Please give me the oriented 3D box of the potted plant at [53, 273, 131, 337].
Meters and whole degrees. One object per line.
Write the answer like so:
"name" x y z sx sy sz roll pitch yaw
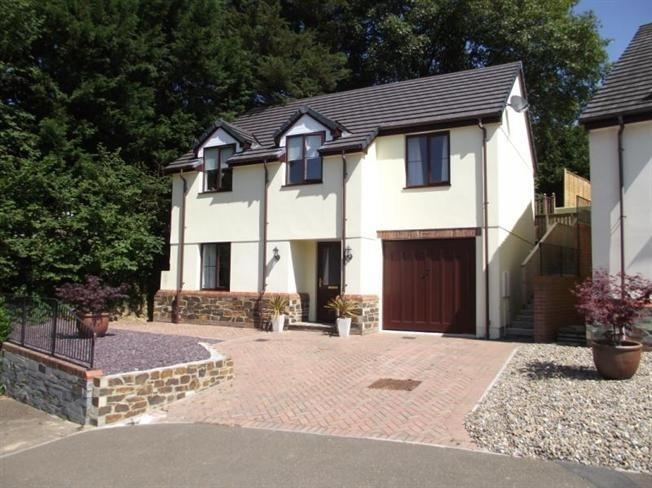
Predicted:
"potted plant" -7.531 1.885 16.969 1.313 1.745 1.774 -8 -10 42

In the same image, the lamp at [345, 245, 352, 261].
"lamp" 0.810 0.355 18.911 0.328 0.552 0.161 1 7 18

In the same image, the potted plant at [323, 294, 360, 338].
"potted plant" 0.609 2.477 18.495 0.738 1.275 0.868 -7 9 -39

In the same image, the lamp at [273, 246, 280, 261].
"lamp" -1.869 0.372 20.287 0.363 0.523 0.138 4 9 34

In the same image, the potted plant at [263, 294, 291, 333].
"potted plant" -1.893 2.604 19.802 0.962 1.325 0.665 1 8 21
